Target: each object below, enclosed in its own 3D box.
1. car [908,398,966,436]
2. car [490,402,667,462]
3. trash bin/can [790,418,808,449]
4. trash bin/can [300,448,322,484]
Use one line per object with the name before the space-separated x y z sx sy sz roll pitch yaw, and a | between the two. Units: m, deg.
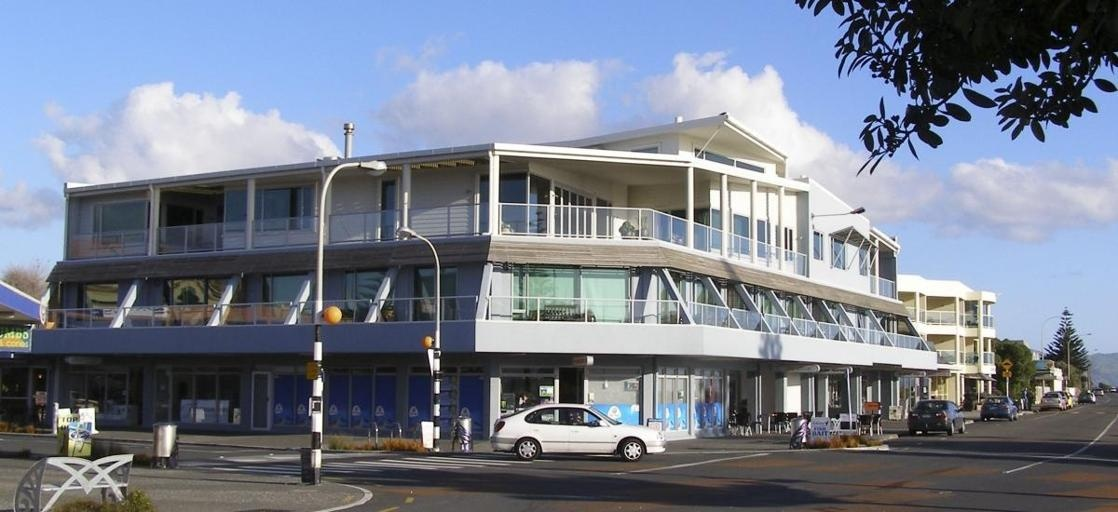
car | 27.569 11.856 89.767 4.599 2.644 1.806 9 -19 -33
car | 1.221 11.073 76.468 9.987 2.676 3.944 -1 -4 3
trash bin/can | 15.489 11.581 79.569 1.213 1.984 0.853 -3 -17 7
trash bin/can | -14.227 12.013 69.539 1.005 2.045 0.647 -1 -17 2
